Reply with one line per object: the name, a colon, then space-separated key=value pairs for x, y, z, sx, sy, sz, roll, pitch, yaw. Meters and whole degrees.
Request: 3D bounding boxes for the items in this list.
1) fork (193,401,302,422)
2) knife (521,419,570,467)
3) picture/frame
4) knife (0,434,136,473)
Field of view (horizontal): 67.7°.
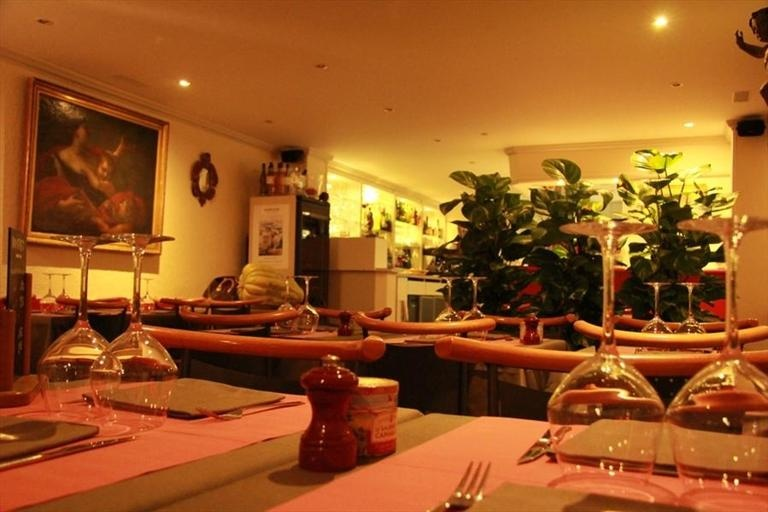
fork: x=-0.260 y=0.287 z=1.058 sx=0.023 sy=0.020 sz=0.154 roll=5 pitch=1 yaw=40
knife: x=0.232 y=0.269 z=0.834 sx=0.041 sy=0.012 sz=0.112 roll=0 pitch=2 yaw=34
picture/frame: x=-2.836 y=-0.925 z=5.499 sx=0.211 sy=1.524 sz=2.009 roll=0 pitch=-1 yaw=26
knife: x=-0.451 y=0.279 z=0.806 sx=0.155 sy=0.012 sz=0.021 roll=0 pitch=16 yaw=-44
